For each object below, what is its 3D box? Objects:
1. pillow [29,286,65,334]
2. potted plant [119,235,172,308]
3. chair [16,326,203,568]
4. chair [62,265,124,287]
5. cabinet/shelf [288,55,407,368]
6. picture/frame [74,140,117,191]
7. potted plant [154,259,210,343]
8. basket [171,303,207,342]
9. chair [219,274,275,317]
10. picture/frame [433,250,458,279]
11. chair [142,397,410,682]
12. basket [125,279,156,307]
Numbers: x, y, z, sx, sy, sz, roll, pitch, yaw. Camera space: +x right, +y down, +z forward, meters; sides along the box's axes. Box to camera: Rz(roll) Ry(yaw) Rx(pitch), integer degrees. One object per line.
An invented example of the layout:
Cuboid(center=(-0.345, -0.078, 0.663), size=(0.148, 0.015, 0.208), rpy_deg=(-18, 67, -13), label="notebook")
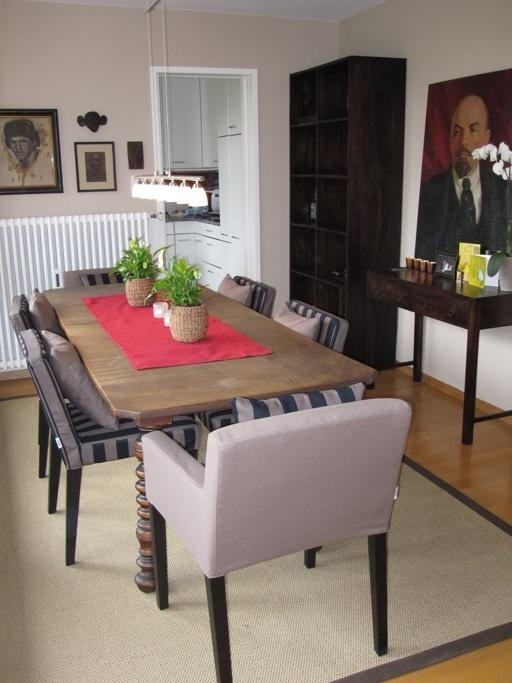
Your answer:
Cuboid(center=(-1.086, -0.156, 2.691), size=(0.072, 0.250, 0.257), rpy_deg=(-23, 51, -13), label="pillow")
Cuboid(center=(-0.644, -0.366, 2.854), size=(0.212, 0.378, 0.285), rpy_deg=(-2, 6, 5), label="potted plant")
Cuboid(center=(-0.618, 0.192, 2.382), size=(0.796, 1.244, 0.742), rpy_deg=(-8, 23, -24), label="chair")
Cuboid(center=(-1.185, -0.466, 3.745), size=(0.381, 0.114, 0.183), rpy_deg=(-3, 8, -7), label="chair")
Cuboid(center=(0.628, -1.324, 4.256), size=(0.391, 2.418, 0.956), rpy_deg=(-12, 22, -28), label="cabinet/shelf")
Cuboid(center=(-1.317, -1.447, 4.188), size=(0.339, 0.447, 0.017), rpy_deg=(-9, 15, -27), label="picture/frame")
Cuboid(center=(-0.283, -0.157, 2.122), size=(0.180, 0.338, 0.215), rpy_deg=(-3, 9, -5), label="potted plant")
Cuboid(center=(-0.281, -0.092, 2.163), size=(0.138, 0.153, 0.148), rpy_deg=(-2, 16, -12), label="basket")
Cuboid(center=(-0.060, -0.281, 3.192), size=(0.199, 0.309, 0.397), rpy_deg=(-8, 22, -32), label="chair")
Cuboid(center=(1.187, -0.470, 3.234), size=(0.049, 0.170, 0.143), rpy_deg=(10, 2, -32), label="picture/frame")
Cuboid(center=(0.052, 0.488, 1.373), size=(0.566, 0.750, 0.578), rpy_deg=(-6, 9, -29), label="chair")
Cuboid(center=(-0.622, -0.276, 2.812), size=(0.137, 0.150, 0.145), rpy_deg=(-2, 14, -21), label="basket")
